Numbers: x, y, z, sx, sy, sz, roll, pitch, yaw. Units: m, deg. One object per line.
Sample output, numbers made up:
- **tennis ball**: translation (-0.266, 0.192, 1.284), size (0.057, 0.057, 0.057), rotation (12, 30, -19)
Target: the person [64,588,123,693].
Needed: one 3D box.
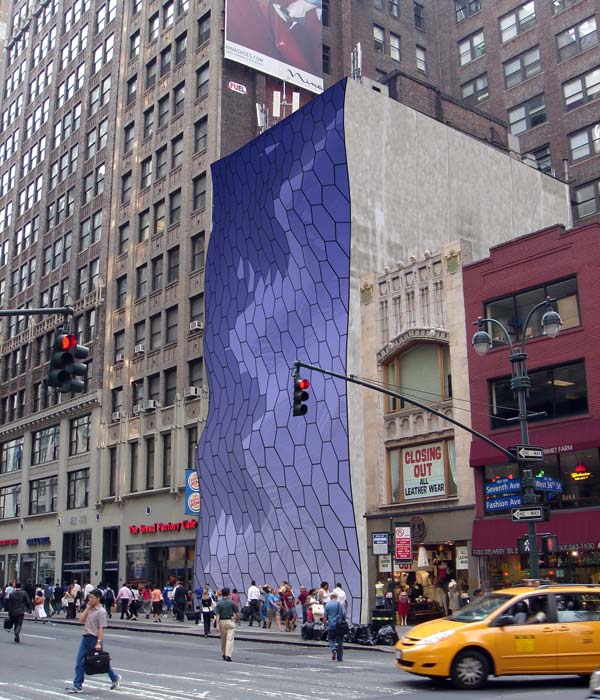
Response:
- **person**: translation (-3.323, 4.711, 13.053), size (0.747, 1.529, 2.914), rotation (2, -16, -13)

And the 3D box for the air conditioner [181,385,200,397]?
- **air conditioner**: translation (-5.929, 2.323, 43.545), size (0.576, 0.547, 1.342), rotation (8, -19, -33)

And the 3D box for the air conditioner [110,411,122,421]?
- **air conditioner**: translation (-11.569, 4.235, 50.751), size (0.619, 0.849, 0.732), rotation (-4, -10, 22)

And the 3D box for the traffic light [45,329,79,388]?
- **traffic light**: translation (-3.180, 0.096, 10.837), size (0.337, 0.939, 0.766), rotation (3, -15, -17)

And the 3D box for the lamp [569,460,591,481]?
- **lamp**: translation (8.505, 3.779, 24.598), size (0.349, 0.923, 0.749), rotation (3, -8, -24)

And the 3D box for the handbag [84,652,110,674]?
- **handbag**: translation (-2.966, 4.600, 11.807), size (0.356, 0.316, 0.373), rotation (2, -15, -14)

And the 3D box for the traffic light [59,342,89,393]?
- **traffic light**: translation (-2.996, 0.244, 10.691), size (0.273, 0.729, 0.185), rotation (11, -5, -31)

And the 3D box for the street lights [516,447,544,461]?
- **street lights**: translation (5.269, 2.464, 18.733), size (0.386, 0.498, 0.167), rotation (3, -26, -29)

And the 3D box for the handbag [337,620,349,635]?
- **handbag**: translation (0.893, 6.232, 17.917), size (0.249, 0.378, 0.465), rotation (-2, -15, 1)

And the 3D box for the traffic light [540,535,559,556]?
- **traffic light**: translation (5.779, 4.535, 18.847), size (0.370, 0.388, 0.620), rotation (-6, -16, 15)
